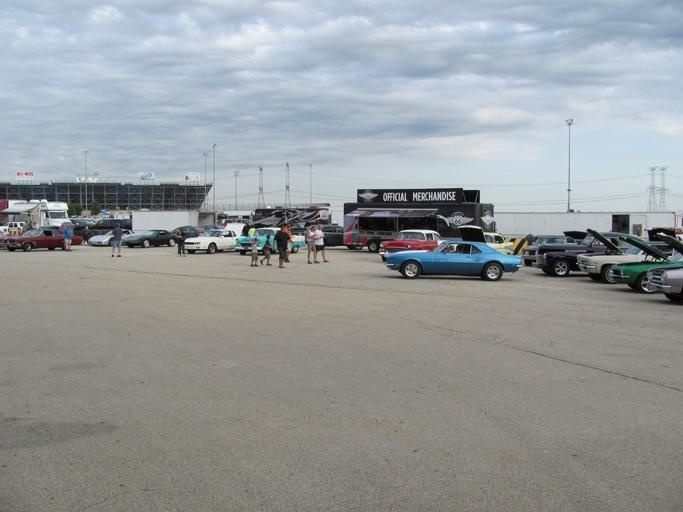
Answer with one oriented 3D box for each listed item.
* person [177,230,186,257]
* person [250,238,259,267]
[{"bbox_3d":[-9.624,-0.849,33.564,0.400,1.617,1.780,0,3,-16],"label":"person"},{"bbox_3d":[-4.089,-0.218,26.339,0.374,1.307,1.054,1,3,-9],"label":"person"}]
